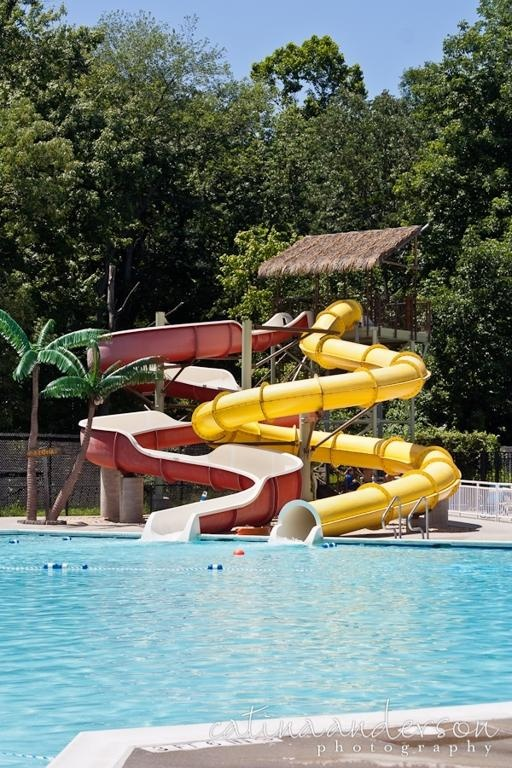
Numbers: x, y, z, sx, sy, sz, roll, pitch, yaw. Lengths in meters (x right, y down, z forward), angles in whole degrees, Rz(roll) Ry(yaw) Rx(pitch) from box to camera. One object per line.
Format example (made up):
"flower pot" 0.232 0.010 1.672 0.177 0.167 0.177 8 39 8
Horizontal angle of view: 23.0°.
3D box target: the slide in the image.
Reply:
"slide" -0.878 0.680 18.847 2.423 2.179 4.226 4 -1 0
